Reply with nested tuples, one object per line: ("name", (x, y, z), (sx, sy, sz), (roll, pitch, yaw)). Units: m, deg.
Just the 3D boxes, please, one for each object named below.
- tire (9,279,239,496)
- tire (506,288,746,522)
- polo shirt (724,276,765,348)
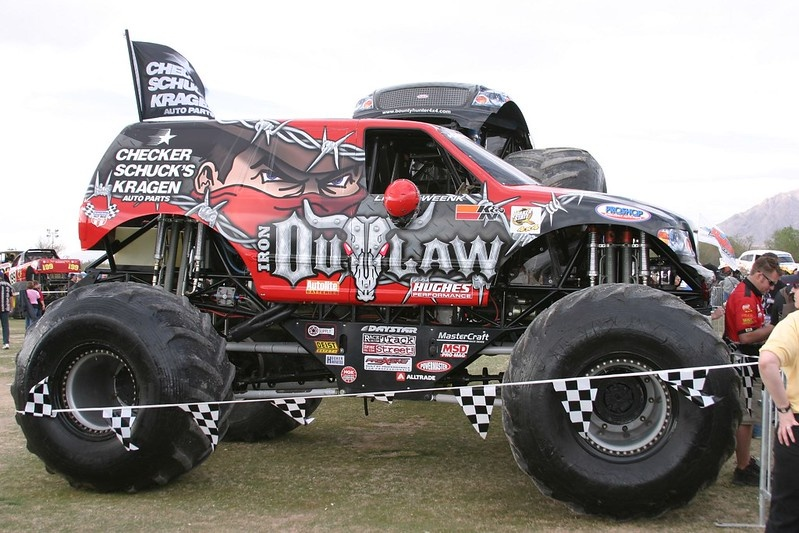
("tire", (-2.508, 1.102, 6.439), (1.903, 1.854, 0.573), (1, 3, 6))
("tire", (1.824, 1.092, 6.061), (2.342, 1.863, 0.740), (-3, -1, -14))
("polo shirt", (3.656, 0.457, 7.263), (0.480, 0.721, 0.865), (-4, 19, 25))
